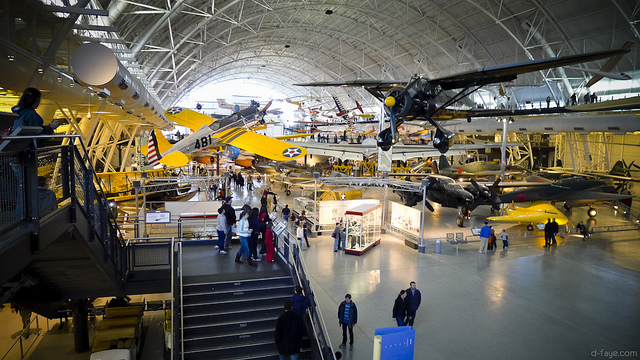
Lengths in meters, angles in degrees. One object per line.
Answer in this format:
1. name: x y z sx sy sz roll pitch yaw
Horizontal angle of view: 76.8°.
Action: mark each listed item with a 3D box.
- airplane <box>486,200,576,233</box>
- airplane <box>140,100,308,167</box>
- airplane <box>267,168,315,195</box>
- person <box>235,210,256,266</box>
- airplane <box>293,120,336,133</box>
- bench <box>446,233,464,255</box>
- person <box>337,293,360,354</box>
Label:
1. airplane: 13.678 2.399 26.144 5.226 1.868 5.893 0 2 -25
2. airplane: -6.591 -3.138 25.521 7.381 1.850 5.706 30 39 33
3. airplane: -1.831 0.529 34.710 2.979 0.937 3.182 0 6 -32
4. person: -3.324 2.517 17.918 0.906 2.357 0.725 1 -1 -24
5. airplane: -0.967 -9.121 69.197 4.799 1.861 4.609 0 14 -11
6. bench: 7.908 3.705 23.632 1.192 1.444 1.004 0 -6 -1
7. person: 1.067 5.687 16.213 0.653 2.374 0.818 -2 1 -20
